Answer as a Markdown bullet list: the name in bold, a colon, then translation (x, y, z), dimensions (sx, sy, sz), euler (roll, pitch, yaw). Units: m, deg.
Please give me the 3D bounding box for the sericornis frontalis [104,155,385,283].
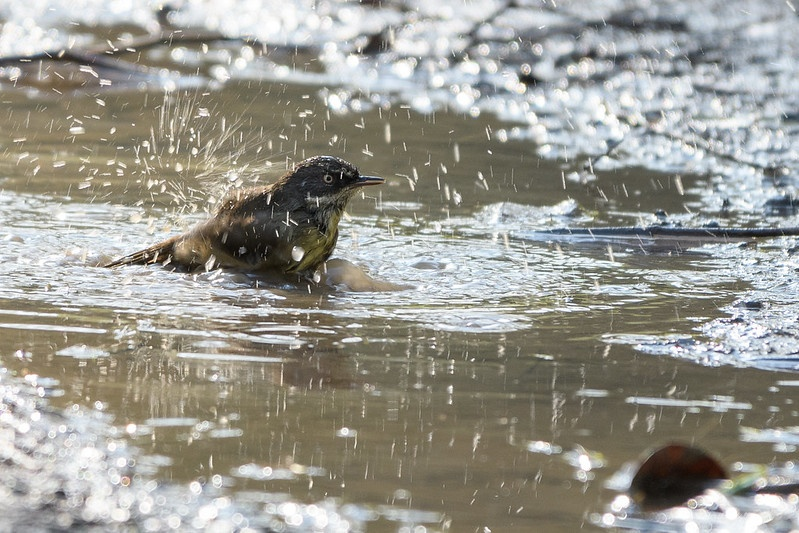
- **sericornis frontalis**: translation (-0.986, -0.241, 6.174), dimensions (1.970, 0.650, 0.873), euler (3, 103, 18)
